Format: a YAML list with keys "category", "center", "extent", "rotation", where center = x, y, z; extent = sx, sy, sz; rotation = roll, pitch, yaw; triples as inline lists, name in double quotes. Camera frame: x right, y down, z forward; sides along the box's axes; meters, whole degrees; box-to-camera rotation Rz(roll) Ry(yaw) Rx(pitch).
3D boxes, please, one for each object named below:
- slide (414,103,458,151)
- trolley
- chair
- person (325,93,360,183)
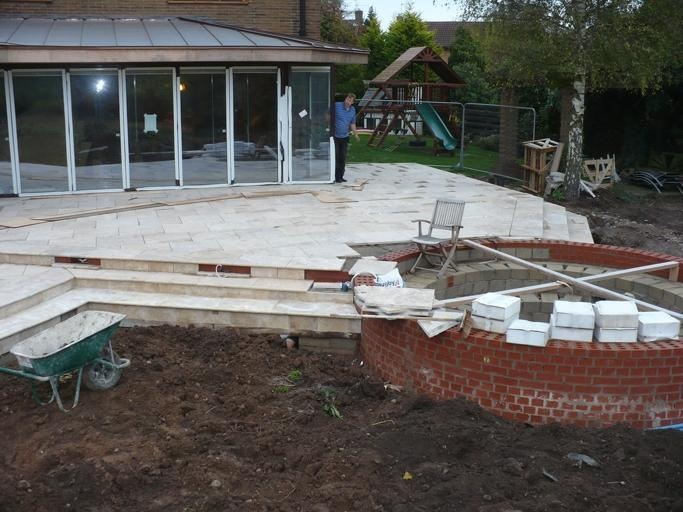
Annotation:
- category: "slide"
  center: [4.369, -6.141, 24.198]
  extent: [1.170, 0.567, 3.495]
  rotation: [-5, 44, -28]
- category: "trolley"
  center: [-2.467, 0.927, 5.512]
  extent: [0.720, 0.664, 1.659]
  rotation: [13, 24, 41]
- category: "chair"
  center: [1.527, -0.294, 8.224]
  extent: [1.038, 0.988, 0.923]
  rotation: [-8, 18, 5]
- category: "person"
  center: [0.084, -3.446, 15.047]
  extent: [0.651, 2.571, 1.279]
  rotation: [2, 14, 10]
